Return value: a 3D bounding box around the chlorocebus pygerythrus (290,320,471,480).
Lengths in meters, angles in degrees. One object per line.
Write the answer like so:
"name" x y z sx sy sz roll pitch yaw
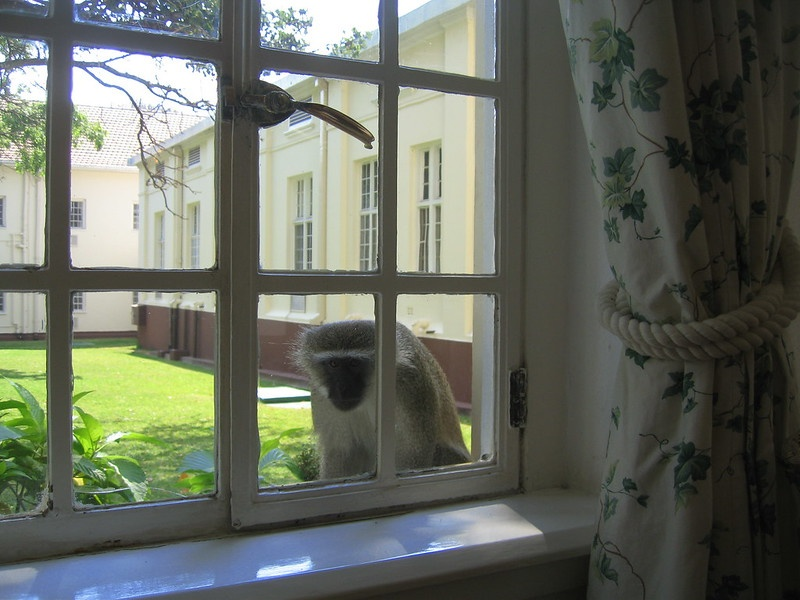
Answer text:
"chlorocebus pygerythrus" -0.020 0.233 1.565 0.305 0.338 0.439 -9 -9 21
